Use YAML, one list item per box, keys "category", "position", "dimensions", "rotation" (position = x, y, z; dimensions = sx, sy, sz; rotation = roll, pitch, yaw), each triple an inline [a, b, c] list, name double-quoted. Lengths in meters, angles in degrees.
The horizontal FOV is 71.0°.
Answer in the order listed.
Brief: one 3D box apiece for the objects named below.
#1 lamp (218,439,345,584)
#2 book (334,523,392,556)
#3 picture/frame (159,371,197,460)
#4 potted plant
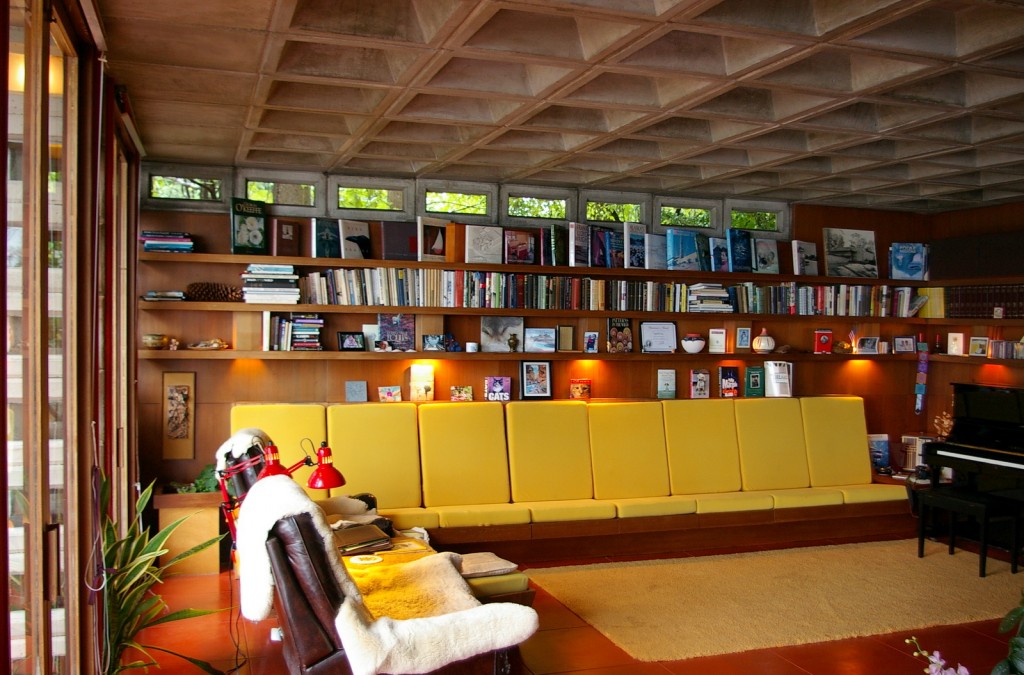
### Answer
- category: "lamp"
  position: [-1.479, 0.962, 4.746]
  dimensions: [0.867, 0.557, 0.650]
  rotation: [-12, 1, -9]
- category: "book"
  position: [-1.036, 1.393, 4.952]
  dimensions: [0.549, 0.098, 0.429]
  rotation: [1, 2, -4]
- category: "picture/frame"
  position: [-3.100, 0.720, 6.679]
  dimensions: [0.047, 0.802, 0.374]
  rotation: [-12, -5, -5]
- category: "potted plant"
  position: [-2.618, 1.595, 5.828]
  dimensions: [0.487, 0.701, 0.343]
  rotation: [-1, 7, -19]
